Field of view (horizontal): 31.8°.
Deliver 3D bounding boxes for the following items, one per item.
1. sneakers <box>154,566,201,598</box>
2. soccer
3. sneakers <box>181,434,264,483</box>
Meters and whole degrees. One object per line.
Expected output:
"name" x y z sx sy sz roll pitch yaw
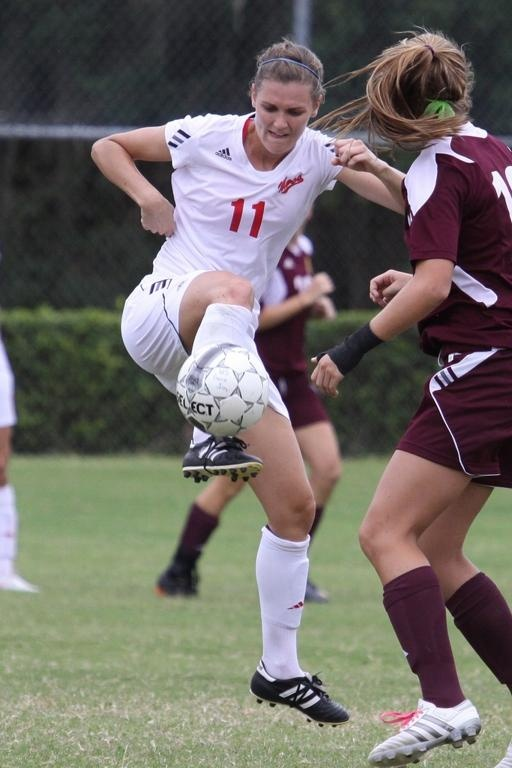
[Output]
"sneakers" -0.282 0.727 3.291 0.120 0.059 0.144 -8 -2 2
"soccer" -0.069 0.026 2.174 0.232 0.196 0.211 -1 18 -11
"sneakers" -0.073 0.185 2.186 0.239 0.109 0.084 -7 -32 37
